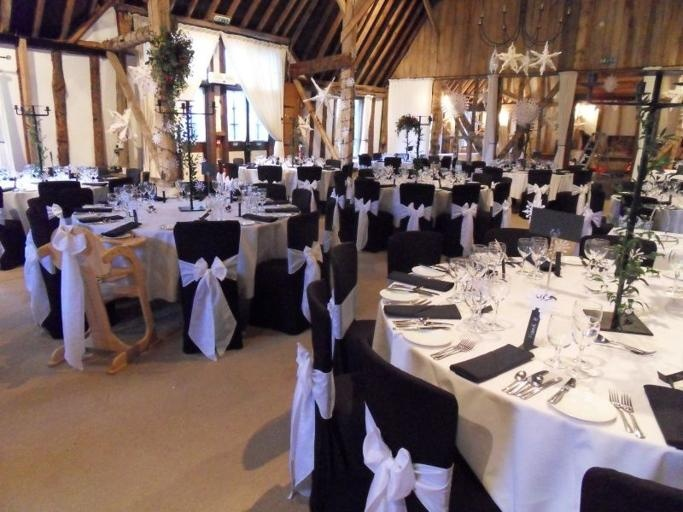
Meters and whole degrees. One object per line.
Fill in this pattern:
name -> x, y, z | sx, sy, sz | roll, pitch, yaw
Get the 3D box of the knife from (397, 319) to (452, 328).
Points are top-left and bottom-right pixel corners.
knife -> 0.426, 0.356, 2.573 | 0.309, 0.019, 0.104 | -1, 15, -1

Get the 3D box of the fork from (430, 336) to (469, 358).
fork -> 0.527, 0.454, 2.372 | 0.239, 0.039, 0.075 | -17, 41, -29

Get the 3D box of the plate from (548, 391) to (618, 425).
plate -> 0.995, 0.625, 2.022 | 0.199, 0.055, 0.218 | -13, 19, -41

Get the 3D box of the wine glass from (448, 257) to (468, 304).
wine glass -> 0.691, 0.111, 2.902 | 0.115, 0.242, 0.313 | 3, 14, 14

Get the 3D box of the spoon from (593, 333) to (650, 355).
spoon -> 1.358, 0.432, 2.403 | 0.039, 0.049, 0.252 | -42, 38, -24

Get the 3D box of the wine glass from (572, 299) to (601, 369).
wine glass -> 1.131, 0.356, 2.295 | 0.112, 0.283, 0.244 | 7, 15, 28

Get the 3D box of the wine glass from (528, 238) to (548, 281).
wine glass -> 1.256, -0.004, 3.150 | 0.100, 0.265, 0.395 | 5, 15, 23

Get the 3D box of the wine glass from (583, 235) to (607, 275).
wine glass -> 1.590, -0.008, 3.085 | 0.135, 0.255, 0.364 | 7, 16, 29

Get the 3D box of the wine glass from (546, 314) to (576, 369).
wine glass -> 1.062, 0.350, 2.404 | 0.110, 0.232, 0.420 | 5, 15, 23

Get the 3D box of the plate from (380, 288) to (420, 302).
plate -> 0.336, 0.227, 2.869 | 0.219, 0.039, 0.166 | 1, 15, 4

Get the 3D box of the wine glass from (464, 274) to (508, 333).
wine glass -> 0.723, 0.231, 2.631 | 0.254, 0.321, 0.251 | 2, 10, 12
